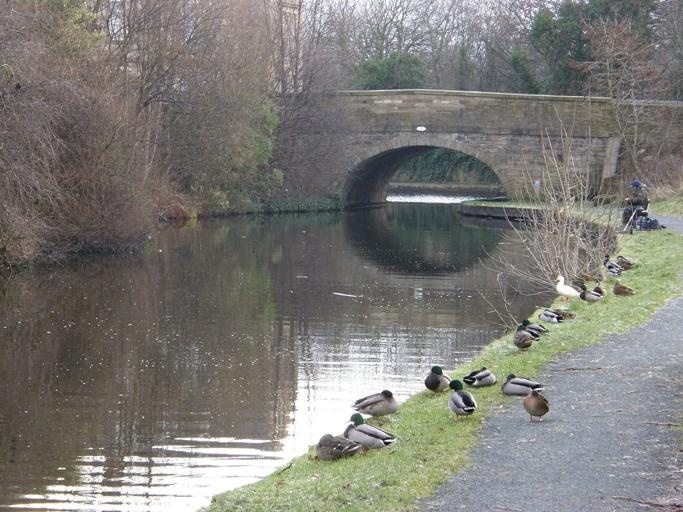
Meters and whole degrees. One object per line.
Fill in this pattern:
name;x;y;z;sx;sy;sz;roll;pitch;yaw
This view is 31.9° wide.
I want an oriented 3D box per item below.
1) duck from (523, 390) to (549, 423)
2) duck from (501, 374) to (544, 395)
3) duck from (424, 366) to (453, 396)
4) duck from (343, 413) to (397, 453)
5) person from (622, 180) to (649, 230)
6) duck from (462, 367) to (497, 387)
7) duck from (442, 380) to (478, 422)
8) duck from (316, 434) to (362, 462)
duck;3.634;2.780;22.300;0.470;0.572;0.395;2;8;10
duck;3.476;2.488;23.083;0.680;0.364;0.369;2;-3;11
duck;1.997;2.508;24.024;0.334;0.483;0.629;-4;-11;28
duck;0.549;3.294;22.143;0.999;0.742;0.580;2;-5;18
person;9.105;-1.575;37.067;0.745;1.631;2.413;2;8;13
duck;2.724;2.406;23.665;0.570;0.284;0.318;-6;6;-22
duck;2.290;2.731;22.524;0.415;0.641;0.923;-8;12;-21
duck;-0.062;3.515;21.871;0.731;0.369;0.411;-8;-2;36
